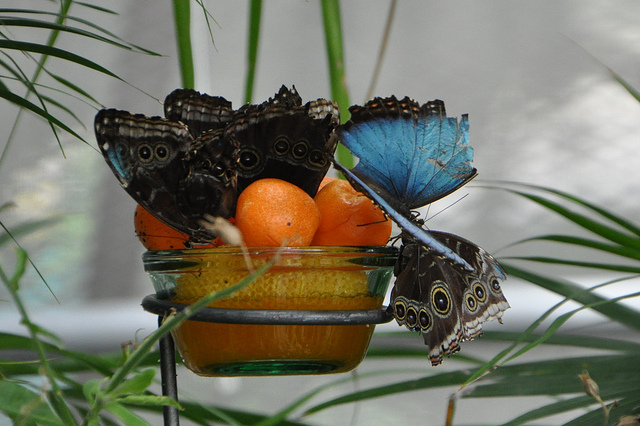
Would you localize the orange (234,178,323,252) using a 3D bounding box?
[{"bbox_3d":[-0.068,0.001,1.441,0.112,0.108,0.114,9,-67,-2],"label":"orange"}]

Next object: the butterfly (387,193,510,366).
[{"bbox_3d":[0.208,0.124,1.518,0.223,0.149,0.217,43,-36,-11],"label":"butterfly"}]

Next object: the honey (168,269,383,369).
[{"bbox_3d":[-0.054,0.187,1.619,0.426,0.188,0.439,0,-12,-8],"label":"honey"}]
